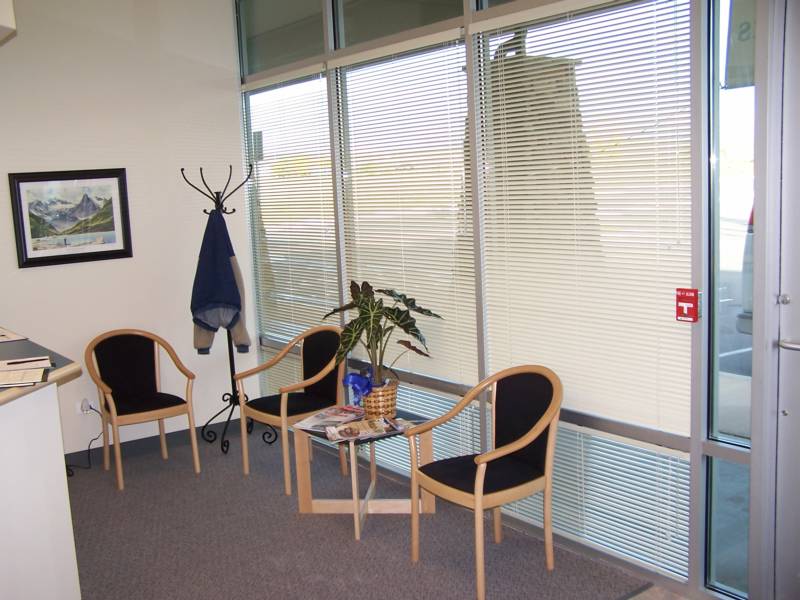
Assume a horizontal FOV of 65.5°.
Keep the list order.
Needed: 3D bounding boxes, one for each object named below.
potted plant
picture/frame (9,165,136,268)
[{"bbox_3d":[-0.221,0.221,4.333,0.885,0.902,0.892,7,14,44],"label":"potted plant"},{"bbox_3d":[-2.699,-0.687,5.022,0.783,0.684,0.073,-10,14,-31],"label":"picture/frame"}]
